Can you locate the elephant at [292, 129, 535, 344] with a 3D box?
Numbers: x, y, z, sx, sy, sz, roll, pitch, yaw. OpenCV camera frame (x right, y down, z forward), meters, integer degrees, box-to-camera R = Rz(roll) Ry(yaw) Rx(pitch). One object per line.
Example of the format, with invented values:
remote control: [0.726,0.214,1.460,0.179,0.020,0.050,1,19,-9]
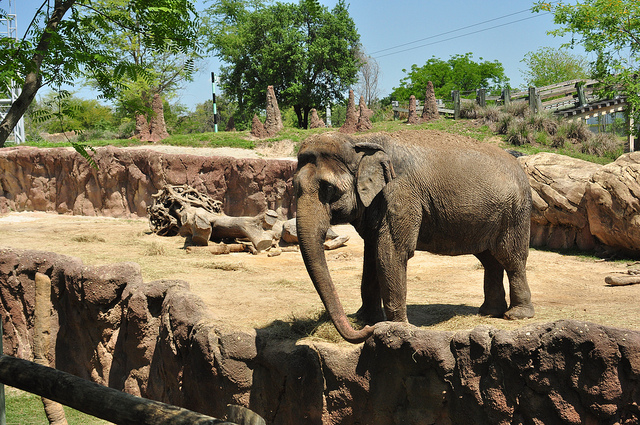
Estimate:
elephant: [1.906,0.406,16.135,4.828,3.712,2.057,-1,3,-10]

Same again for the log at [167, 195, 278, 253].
log: [-2.506,0.364,21.720,2.221,0.775,1.204,8,-11,-9]
